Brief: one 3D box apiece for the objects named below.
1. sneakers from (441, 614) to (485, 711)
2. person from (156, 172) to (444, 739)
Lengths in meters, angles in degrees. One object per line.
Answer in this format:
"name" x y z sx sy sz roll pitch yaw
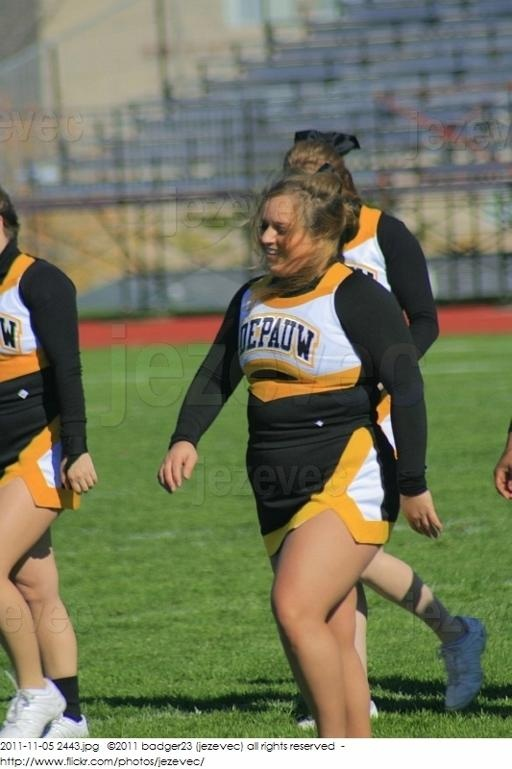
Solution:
"sneakers" 0.685 0.906 3.139 0.159 0.293 0.120 23 -21 -33
"person" 0.127 0.158 2.459 0.627 1.402 0.648 -9 13 -24
